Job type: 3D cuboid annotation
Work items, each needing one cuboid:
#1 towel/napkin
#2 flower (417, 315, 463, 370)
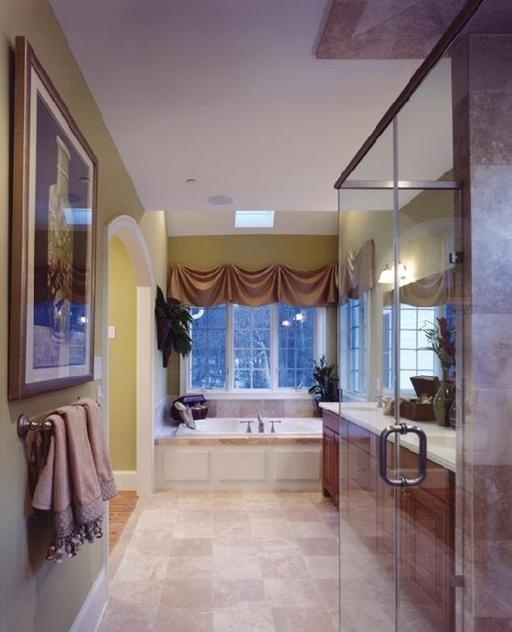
[{"bbox_3d":[-0.567,0.557,1.540,0.231,0.548,0.433,0,-3,-18],"label":"towel/napkin"},{"bbox_3d":[0.410,0.067,1.078,0.058,0.081,0.070,-10,2,26],"label":"flower"}]
